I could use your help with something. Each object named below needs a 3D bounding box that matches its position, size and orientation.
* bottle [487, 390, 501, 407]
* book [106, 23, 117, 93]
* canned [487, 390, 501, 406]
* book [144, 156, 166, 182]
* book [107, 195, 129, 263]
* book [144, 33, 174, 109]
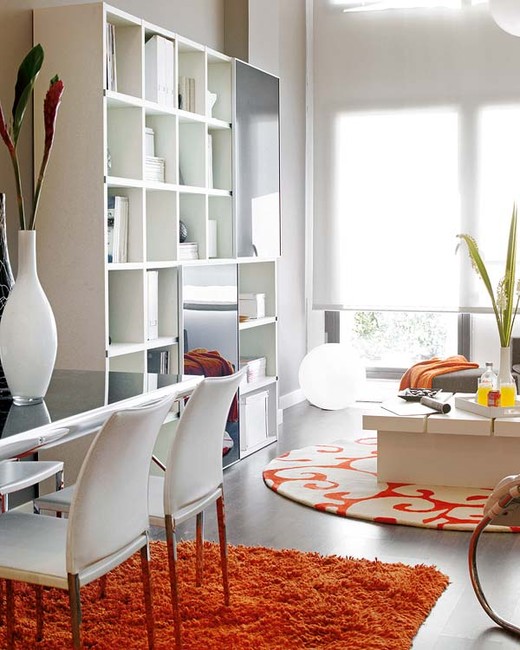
[{"bbox_3d":[1.298,0.402,2.936,0.073,0.152,0.076,0,-3,0],"label":"bottle"},{"bbox_3d":[-0.729,-1.342,2.579,0.035,0.411,0.199,0,-3,-12],"label":"book"},{"bbox_3d":[1.298,0.402,2.934,0.076,0.156,0.077,-1,-3,26],"label":"canned"},{"bbox_3d":[-0.600,-0.900,3.043,0.103,0.055,0.146,3,6,41],"label":"book"},{"bbox_3d":[-0.746,-0.503,2.749,0.051,0.379,0.237,-1,-3,10],"label":"book"},{"bbox_3d":[-0.561,-1.471,3.047,0.065,0.418,0.275,-2,-4,25],"label":"book"}]
